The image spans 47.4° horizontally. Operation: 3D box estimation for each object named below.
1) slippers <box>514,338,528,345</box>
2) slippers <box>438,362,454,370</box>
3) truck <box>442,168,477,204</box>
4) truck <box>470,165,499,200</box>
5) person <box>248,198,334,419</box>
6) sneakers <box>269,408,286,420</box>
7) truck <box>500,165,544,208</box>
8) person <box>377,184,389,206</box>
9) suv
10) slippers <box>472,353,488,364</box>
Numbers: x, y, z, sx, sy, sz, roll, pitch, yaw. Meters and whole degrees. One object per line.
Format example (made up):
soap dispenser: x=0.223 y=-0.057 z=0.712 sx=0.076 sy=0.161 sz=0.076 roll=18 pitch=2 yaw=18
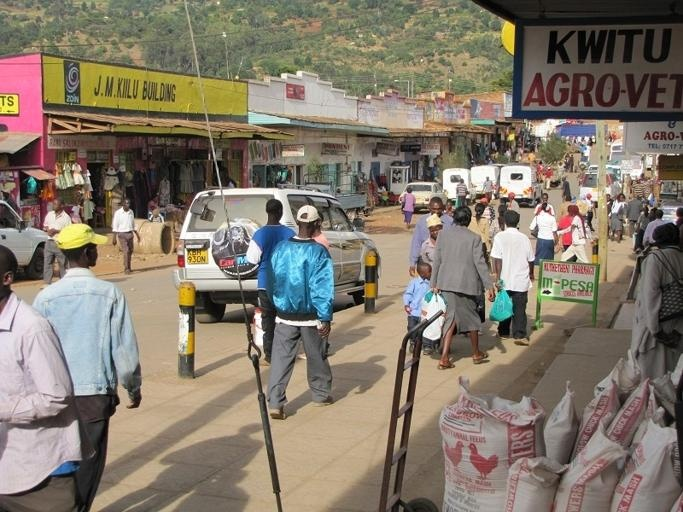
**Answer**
slippers: x=2.573 y=1.254 z=11.144 sx=0.147 sy=0.075 sz=0.088 roll=-6 pitch=14 yaw=-6
slippers: x=1.302 y=1.384 z=9.782 sx=0.087 sy=0.094 sz=0.203 roll=6 pitch=13 yaw=32
truck: x=6.270 y=-4.023 z=42.609 sx=1.268 sy=1.543 sz=2.524 roll=1 pitch=11 yaw=13
truck: x=8.214 y=-4.446 z=44.647 sx=1.128 sy=1.362 sz=2.100 roll=1 pitch=11 yaw=15
person: x=-0.432 y=0.596 z=8.027 sx=0.691 sy=2.193 sz=0.533 roll=-1 pitch=7 yaw=-3
sneakers: x=-0.673 y=1.637 z=8.004 sx=0.123 sy=0.098 sz=0.135 roll=1 pitch=2 yaw=2
truck: x=9.572 y=-3.652 z=42.787 sx=2.438 sy=2.971 sz=4.821 roll=2 pitch=10 yaw=16
person: x=2.395 y=-3.492 z=45.126 sx=0.582 sy=1.119 sz=0.402 roll=-2 pitch=-6 yaw=14
suv: x=-1.042 y=-0.136 z=12.875 sx=1.742 sy=1.658 sz=3.381 roll=1 pitch=6 yaw=25
slippers: x=1.789 y=1.348 z=10.134 sx=0.100 sy=0.114 sz=0.289 roll=3 pitch=13 yaw=26
